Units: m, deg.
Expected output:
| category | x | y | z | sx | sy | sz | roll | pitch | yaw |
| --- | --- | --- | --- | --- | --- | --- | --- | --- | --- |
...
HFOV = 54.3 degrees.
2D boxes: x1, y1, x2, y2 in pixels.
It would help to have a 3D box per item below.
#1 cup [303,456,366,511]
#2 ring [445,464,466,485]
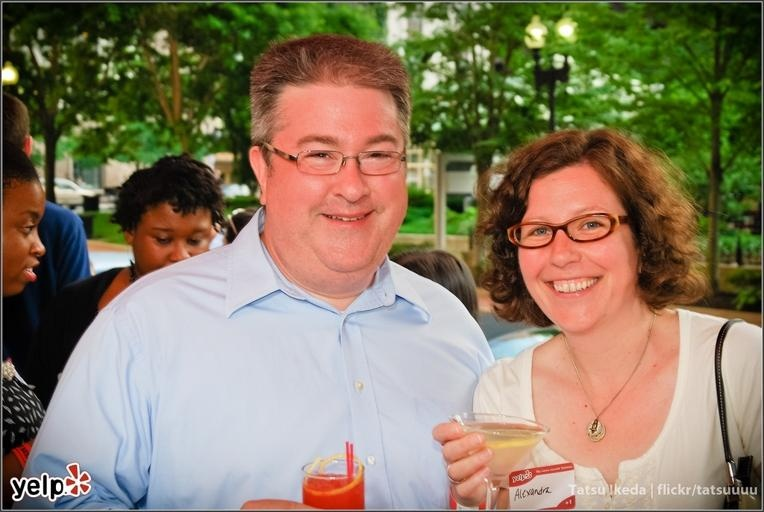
| category | x | y | z | sx | sy | sz | roll | pitch | yaw |
| --- | --- | --- | --- | --- | --- | --- | --- | --- | --- |
| cup | -0.243 | 1.159 | 3.851 | 0.285 | 0.199 | 0.292 | 0 | -6 | 0 |
| ring | 0.375 | 1.159 | 3.940 | 0.037 | 0.109 | 0.111 | -29 | 23 | -18 |
